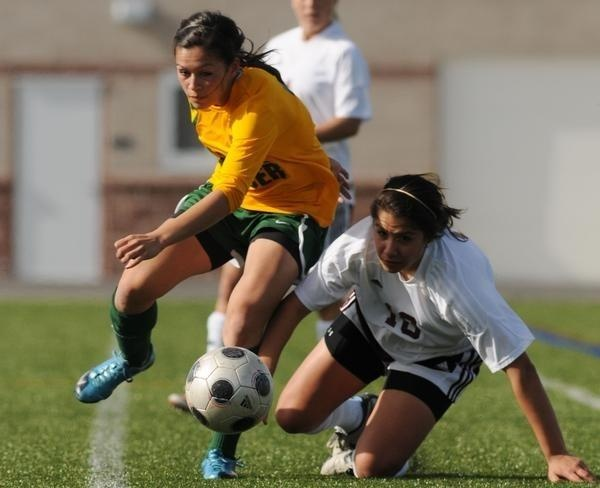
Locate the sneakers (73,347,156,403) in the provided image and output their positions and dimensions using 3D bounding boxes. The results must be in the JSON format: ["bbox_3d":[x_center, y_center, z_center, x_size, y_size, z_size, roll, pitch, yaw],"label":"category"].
[{"bbox_3d":[-0.878,0.673,4.441,0.477,0.179,0.187,-33,-10,-19],"label":"sneakers"}]

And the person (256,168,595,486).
[{"bbox_3d":[0.691,0.478,4.978,1.716,1.268,0.920,20,9,22],"label":"person"}]

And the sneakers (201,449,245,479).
[{"bbox_3d":[-0.369,1.051,4.149,0.190,0.109,0.210,4,10,-6],"label":"sneakers"}]

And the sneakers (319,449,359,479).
[{"bbox_3d":[0.183,1.050,4.172,0.107,0.068,0.158,7,-14,-36],"label":"sneakers"}]
